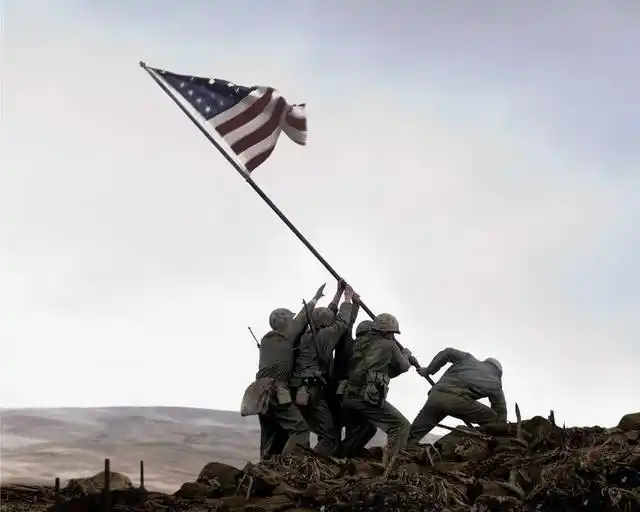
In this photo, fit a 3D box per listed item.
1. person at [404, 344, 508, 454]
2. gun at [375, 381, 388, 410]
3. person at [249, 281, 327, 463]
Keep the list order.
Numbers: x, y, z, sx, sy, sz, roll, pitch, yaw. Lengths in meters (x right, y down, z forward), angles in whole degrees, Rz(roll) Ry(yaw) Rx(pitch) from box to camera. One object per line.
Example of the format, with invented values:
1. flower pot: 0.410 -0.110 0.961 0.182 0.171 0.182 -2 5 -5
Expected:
1. person: 1.867 1.933 11.490 1.209 1.511 0.600 -11 -49 20
2. gun: 0.805 1.796 10.864 0.129 0.343 0.251 2 -44 8
3. person: -0.435 1.509 11.138 0.836 2.692 1.086 4 -46 7
